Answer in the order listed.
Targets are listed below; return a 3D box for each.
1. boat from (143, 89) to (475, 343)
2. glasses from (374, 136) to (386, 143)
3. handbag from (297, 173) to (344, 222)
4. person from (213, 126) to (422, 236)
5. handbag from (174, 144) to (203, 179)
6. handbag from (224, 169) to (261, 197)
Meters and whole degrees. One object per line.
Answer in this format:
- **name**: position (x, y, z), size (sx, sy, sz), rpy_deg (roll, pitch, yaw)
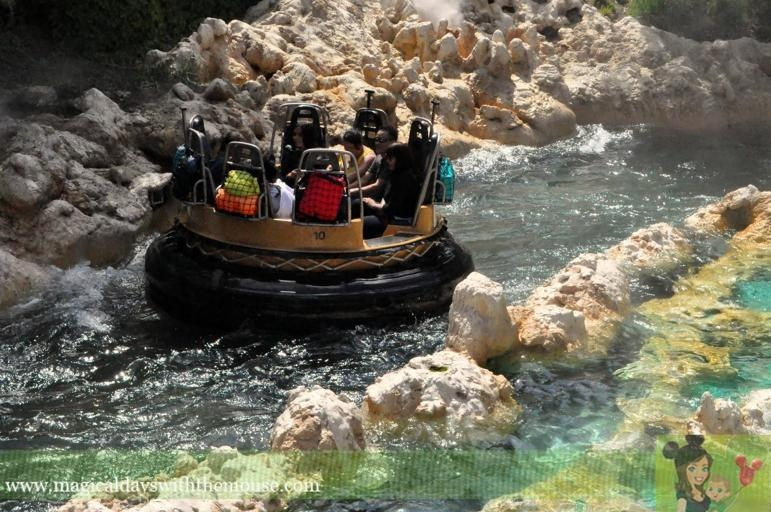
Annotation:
- **boat**: position (-1.048, -0.529, 11.274), size (3.752, 2.239, 3.659), rpy_deg (-1, 10, -5)
- **glasses**: position (-0.066, -1.752, 11.350), size (0.216, 0.070, 0.214), rpy_deg (-1, 10, -2)
- **handbag**: position (-0.847, -0.735, 9.780), size (0.619, 0.612, 0.228), rpy_deg (5, -3, 5)
- **person**: position (-0.678, -0.862, 10.225), size (2.123, 0.768, 1.468), rpy_deg (-1, 30, 0)
- **handbag**: position (-2.729, -1.269, 10.392), size (0.376, 0.180, 0.500), rpy_deg (-4, 42, 2)
- **handbag**: position (-1.874, -0.938, 9.808), size (0.448, 0.294, 0.225), rpy_deg (10, 22, 25)
